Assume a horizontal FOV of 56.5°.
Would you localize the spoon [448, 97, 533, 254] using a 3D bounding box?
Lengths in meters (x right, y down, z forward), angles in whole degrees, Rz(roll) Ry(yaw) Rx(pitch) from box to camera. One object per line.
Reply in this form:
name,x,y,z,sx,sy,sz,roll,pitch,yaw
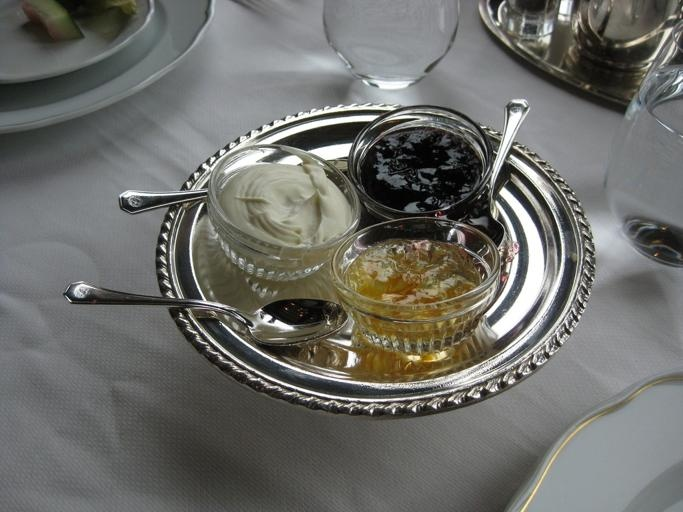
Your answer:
spoon,0.240,-0.133,1.042,0.115,0.026,0.314,18,-48,2
